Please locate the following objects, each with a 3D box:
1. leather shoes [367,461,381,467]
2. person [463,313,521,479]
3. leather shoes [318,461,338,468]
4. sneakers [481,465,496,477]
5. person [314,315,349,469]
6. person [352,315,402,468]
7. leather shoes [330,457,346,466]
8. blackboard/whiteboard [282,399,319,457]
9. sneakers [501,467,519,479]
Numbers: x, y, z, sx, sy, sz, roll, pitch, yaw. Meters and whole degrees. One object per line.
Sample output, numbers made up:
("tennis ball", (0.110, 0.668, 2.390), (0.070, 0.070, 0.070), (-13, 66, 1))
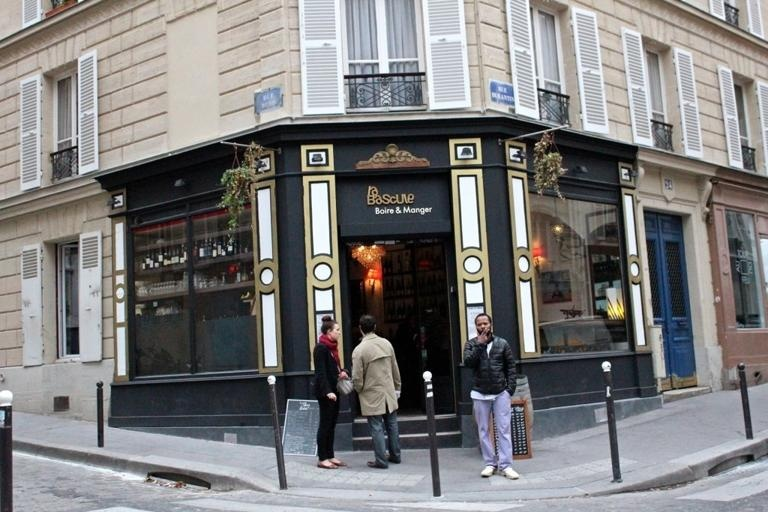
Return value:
("leather shoes", (-0.213, 3.982, 16.987), (0.254, 0.109, 0.091), (12, 0, 35))
("person", (1.964, 2.580, 16.313), (0.809, 3.000, 0.586), (-7, -11, 21))
("leather shoes", (-1.093, 3.965, 16.863), (0.277, 0.109, 0.145), (-1, -3, 4))
("sneakers", (1.900, 3.969, 16.341), (0.124, 0.148, 0.345), (-4, -14, 29))
("person", (-1.041, 2.588, 16.973), (0.599, 2.887, 0.572), (-2, -10, -4))
("person", (-0.145, 2.595, 17.174), (0.677, 2.952, 0.912), (-8, -12, 28))
("leather shoes", (-0.912, 3.930, 16.925), (0.344, 0.141, 0.122), (2, 1, 6))
("blackboard/whiteboard", (-1.639, 3.317, 17.204), (0.722, 1.071, 0.308), (-1, -10, -7))
("sneakers", (2.276, 3.950, 16.158), (0.150, 0.139, 0.300), (-1, -4, -36))
